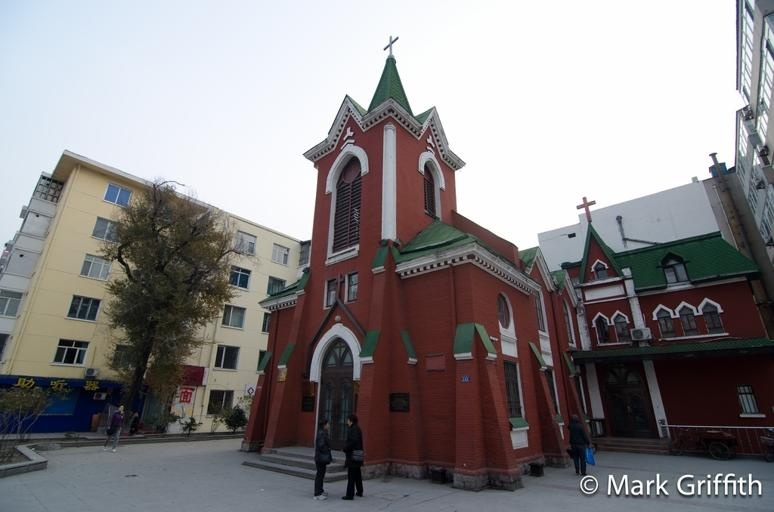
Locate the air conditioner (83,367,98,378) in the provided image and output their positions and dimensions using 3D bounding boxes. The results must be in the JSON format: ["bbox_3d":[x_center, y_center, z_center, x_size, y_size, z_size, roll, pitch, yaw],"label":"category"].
[{"bbox_3d":[-23.448,9.168,32.100,1.023,1.001,0.741,1,-8,-6],"label":"air conditioner"}]

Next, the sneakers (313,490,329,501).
[{"bbox_3d":[-2.738,10.024,16.979,0.681,0.293,0.253,-20,-26,41],"label":"sneakers"}]

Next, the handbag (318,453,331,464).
[{"bbox_3d":[-2.575,8.543,17.119,0.385,0.349,0.519,-7,-22,4],"label":"handbag"}]

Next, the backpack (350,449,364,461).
[{"bbox_3d":[-1.205,8.368,17.023,0.556,0.408,0.405,1,-23,-1],"label":"backpack"}]

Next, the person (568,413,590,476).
[{"bbox_3d":[9.724,9.482,20.215,0.830,2.821,1.344,-4,-12,24],"label":"person"}]
